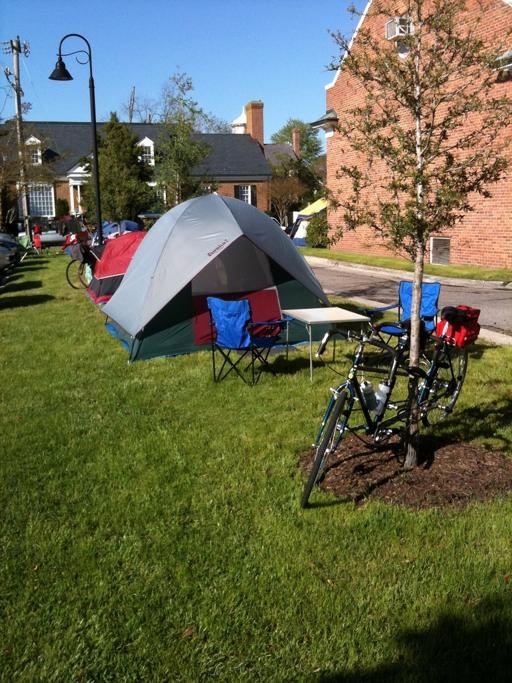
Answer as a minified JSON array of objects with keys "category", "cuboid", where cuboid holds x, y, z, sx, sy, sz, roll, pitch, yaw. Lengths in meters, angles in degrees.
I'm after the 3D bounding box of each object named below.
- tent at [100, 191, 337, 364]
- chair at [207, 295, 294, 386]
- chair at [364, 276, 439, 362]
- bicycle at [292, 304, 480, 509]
[{"category":"tent","cuboid":[-1.113,-1.130,8.411,2.688,1.805,2.649,-13,16,-19]},{"category":"chair","cuboid":[-0.125,-0.065,6.467,0.959,1.099,0.884,-4,13,-8]},{"category":"chair","cuboid":[1.973,-0.220,7.033,1.005,1.110,1.031,1,14,12]},{"category":"bicycle","cuboid":[1.030,0.201,4.673,0.879,1.464,3.032,24,19,32]}]
